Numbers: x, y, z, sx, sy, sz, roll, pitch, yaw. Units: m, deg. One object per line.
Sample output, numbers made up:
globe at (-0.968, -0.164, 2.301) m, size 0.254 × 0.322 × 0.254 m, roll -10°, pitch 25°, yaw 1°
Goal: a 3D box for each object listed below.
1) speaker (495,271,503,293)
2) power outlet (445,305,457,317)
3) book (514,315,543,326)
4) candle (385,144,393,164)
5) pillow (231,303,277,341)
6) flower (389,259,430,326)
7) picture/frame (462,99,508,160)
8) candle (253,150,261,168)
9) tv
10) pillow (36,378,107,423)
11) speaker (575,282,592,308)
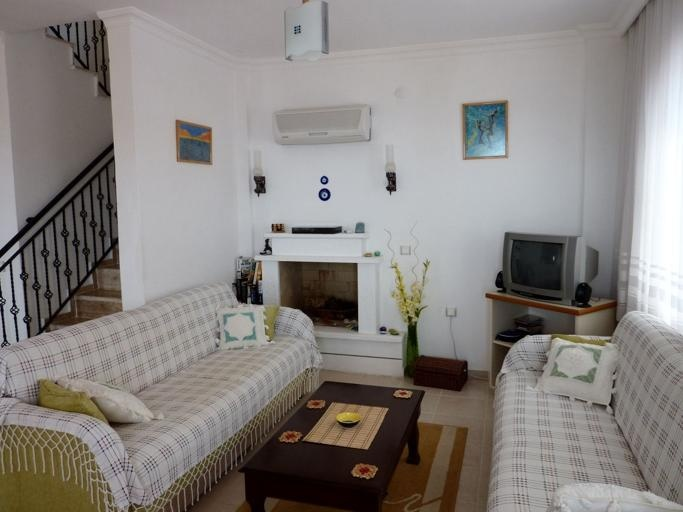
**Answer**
speaker at (1.521, 0.246, 4.845) m, size 0.065 × 0.189 × 0.164 m, roll 0°, pitch 9°, yaw 4°
power outlet at (1.129, 0.565, 5.175) m, size 0.111 × 0.121 × 0.015 m, roll 2°, pitch 8°, yaw 19°
book at (1.839, 0.633, 4.942) m, size 0.139 × 0.038 × 0.153 m, roll -6°, pitch 8°, yaw -23°
candle at (0.493, -1.036, 5.144) m, size 0.084 × 0.198 × 0.150 m, roll 1°, pitch 9°, yaw 7°
pillow at (-0.729, 0.608, 4.655) m, size 0.131 × 0.328 × 0.304 m, roll 1°, pitch -1°, yaw -39°
flower at (0.713, 0.376, 5.145) m, size 0.403 × 0.657 × 0.346 m, roll 0°, pitch 9°, yaw 6°
picture/frame at (1.427, -1.244, 4.936) m, size 0.553 × 0.709 × 0.047 m, roll 0°, pitch 3°, yaw 16°
candle at (-0.915, -1.043, 5.487) m, size 0.072 × 0.200 × 0.040 m, roll 2°, pitch 9°, yaw 14°
tv at (1.826, 0.045, 4.459) m, size 0.686 × 0.540 × 0.598 m, roll -7°, pitch 8°, yaw -43°
pillow at (-1.658, 0.875, 3.065) m, size 0.495 × 0.208 × 0.260 m, roll 4°, pitch 10°, yaw 26°
speaker at (2.081, 0.325, 4.310) m, size 0.219 × 0.201 × 0.090 m, roll -7°, pitch 11°, yaw -35°
